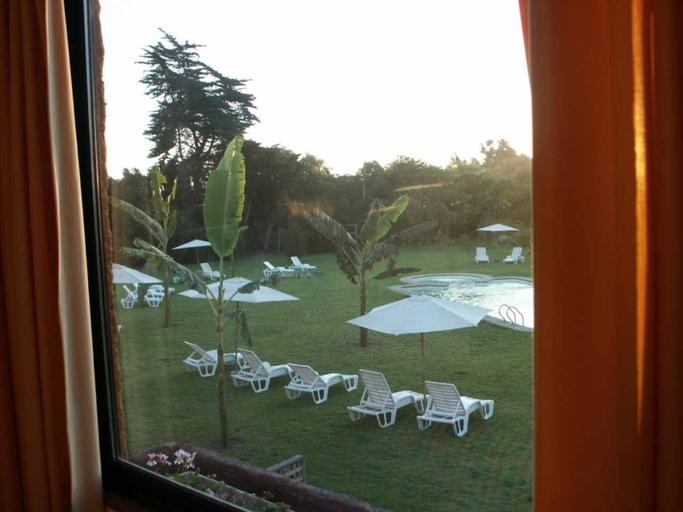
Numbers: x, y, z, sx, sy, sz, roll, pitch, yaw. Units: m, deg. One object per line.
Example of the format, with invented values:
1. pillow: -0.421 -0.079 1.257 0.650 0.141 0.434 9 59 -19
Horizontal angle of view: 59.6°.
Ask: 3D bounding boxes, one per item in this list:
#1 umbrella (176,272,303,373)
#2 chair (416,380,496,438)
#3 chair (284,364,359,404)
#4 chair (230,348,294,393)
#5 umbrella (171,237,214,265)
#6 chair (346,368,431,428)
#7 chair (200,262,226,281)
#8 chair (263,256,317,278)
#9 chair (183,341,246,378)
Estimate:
1. umbrella: -0.884 0.582 4.900 0.885 0.894 1.278 -1 3 5
2. chair: 0.704 0.981 3.819 0.246 0.284 0.428 -1 8 35
3. chair: -0.213 1.056 4.932 0.295 0.269 0.493 3 10 43
4. chair: -0.714 0.995 5.211 0.425 0.300 0.282 -4 6 -41
5. umbrella: -1.082 -0.037 4.333 0.327 0.166 0.084 0 3 30
6. chair: 0.362 1.012 4.445 0.312 0.389 0.562 -2 2 45
7. chair: -0.932 0.102 4.316 0.148 0.115 0.104 10 16 0
8. chair: -0.367 0.077 4.349 0.402 0.147 0.226 -2 3 -11
9. chair: -1.107 0.856 5.116 0.438 0.244 0.256 -8 14 -41
